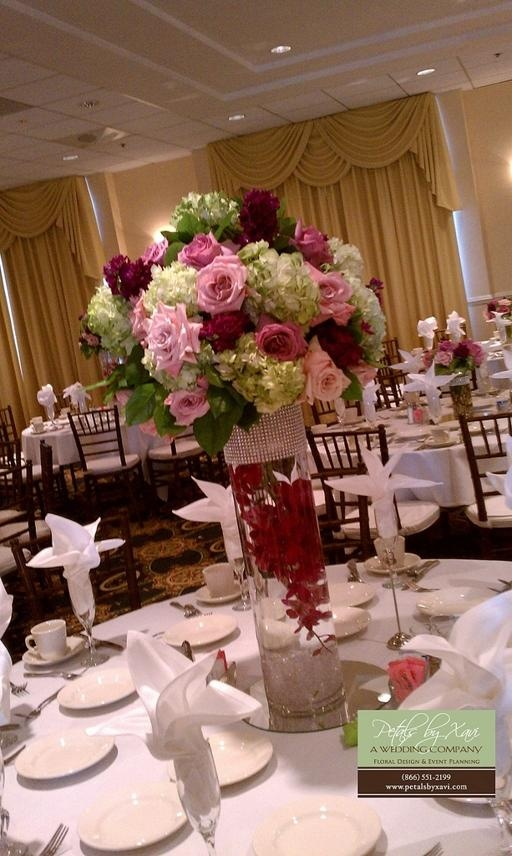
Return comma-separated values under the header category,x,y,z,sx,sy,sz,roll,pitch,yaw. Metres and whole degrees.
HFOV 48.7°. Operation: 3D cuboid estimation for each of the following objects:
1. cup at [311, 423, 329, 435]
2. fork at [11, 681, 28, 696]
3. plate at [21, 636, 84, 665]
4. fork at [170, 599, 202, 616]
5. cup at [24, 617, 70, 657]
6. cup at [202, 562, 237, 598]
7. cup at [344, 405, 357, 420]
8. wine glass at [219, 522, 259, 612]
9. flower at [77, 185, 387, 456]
category,x,y,z,sx,sy,sz,roll,pitch,yaw
cup,0.444,0.006,3.964,0.104,0.067,0.105,-5,7,1
fork,-0.576,0.632,1.376,0.025,0.028,0.069,2,-19,-3
plate,-0.534,0.593,1.504,0.123,0.032,0.129,-1,4,1
fork,-0.201,0.518,1.621,0.032,0.029,0.193,-23,3,-24
cup,-0.573,0.565,1.522,0.114,0.090,0.094,-4,2,-2
cup,-0.113,0.454,1.703,0.079,0.080,0.105,-13,-7,-22
cup,0.687,-0.103,4.174,0.099,0.102,0.096,-1,12,0
wine glass,-0.048,0.374,1.544,0.067,0.224,0.067,-11,-6,2
flower,0.038,-0.115,0.928,0.339,0.310,0.346,-1,-28,-24
